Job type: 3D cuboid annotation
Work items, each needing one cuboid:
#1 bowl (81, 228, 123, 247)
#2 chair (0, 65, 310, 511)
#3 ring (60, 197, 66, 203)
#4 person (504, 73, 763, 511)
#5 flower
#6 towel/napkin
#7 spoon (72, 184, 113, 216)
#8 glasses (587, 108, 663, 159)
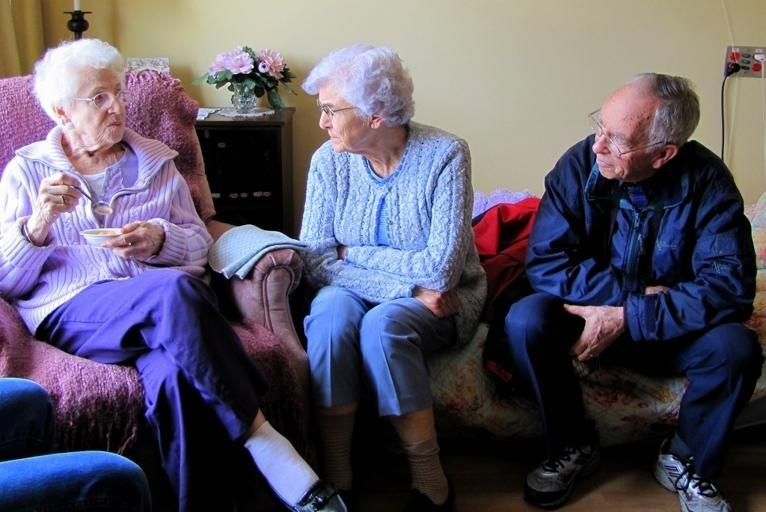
[{"bbox_3d":[-0.928,-0.066,2.100,0.081,0.031,0.083,2,9,0],"label":"bowl"},{"bbox_3d":[-0.664,-0.145,2.614,1.243,1.487,1.338,-11,11,-20],"label":"chair"},{"bbox_3d":[-1.036,-0.183,2.093,0.013,0.025,0.003,-7,17,-22],"label":"ring"},{"bbox_3d":[0.868,0.115,2.264,0.841,1.448,0.557,3,16,11],"label":"person"},{"bbox_3d":[-0.726,-0.951,3.463,0.485,0.317,0.486,-6,6,-34],"label":"flower"},{"bbox_3d":[-0.492,-0.031,2.330,0.230,0.087,0.226,26,45,38],"label":"towel/napkin"},{"bbox_3d":[-0.993,-0.189,2.207,0.048,0.036,0.210,-26,65,-35],"label":"spoon"},{"bbox_3d":[0.838,-0.414,2.248,0.197,0.057,0.192,-10,57,-23],"label":"glasses"}]
